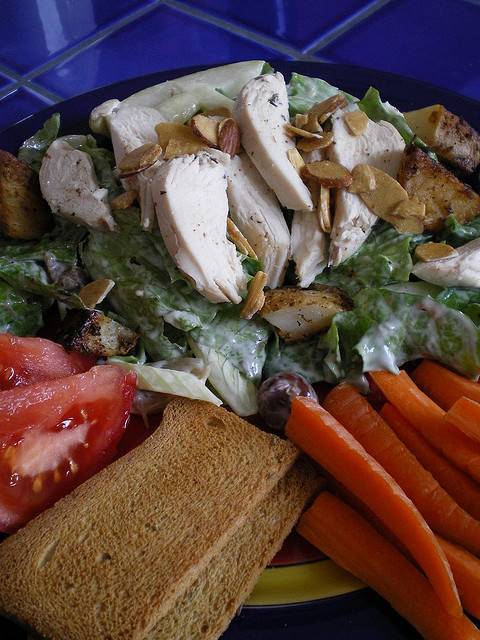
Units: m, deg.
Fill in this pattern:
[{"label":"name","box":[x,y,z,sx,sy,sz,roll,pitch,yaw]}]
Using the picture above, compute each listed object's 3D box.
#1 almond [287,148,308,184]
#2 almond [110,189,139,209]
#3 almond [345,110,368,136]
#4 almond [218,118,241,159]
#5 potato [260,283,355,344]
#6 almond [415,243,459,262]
[{"label":"almond","box":[0.169,-0.464,1.702,0.033,0.111,0.057,-12,26,50]},{"label":"almond","box":[-0.356,-0.372,1.743,0.074,0.017,0.052,-29,46,17]},{"label":"almond","box":[0.365,-0.630,1.808,0.077,0.076,0.019,-29,2,-21]},{"label":"almond","box":[-0.029,-0.549,1.693,0.087,0.102,0.022,1,3,-25]},{"label":"potato","box":[0.178,-0.029,1.613,0.190,0.077,0.210,-27,13,0]},{"label":"almond","box":[0.588,-0.198,1.643,0.086,0.011,0.068,13,48,26]}]
